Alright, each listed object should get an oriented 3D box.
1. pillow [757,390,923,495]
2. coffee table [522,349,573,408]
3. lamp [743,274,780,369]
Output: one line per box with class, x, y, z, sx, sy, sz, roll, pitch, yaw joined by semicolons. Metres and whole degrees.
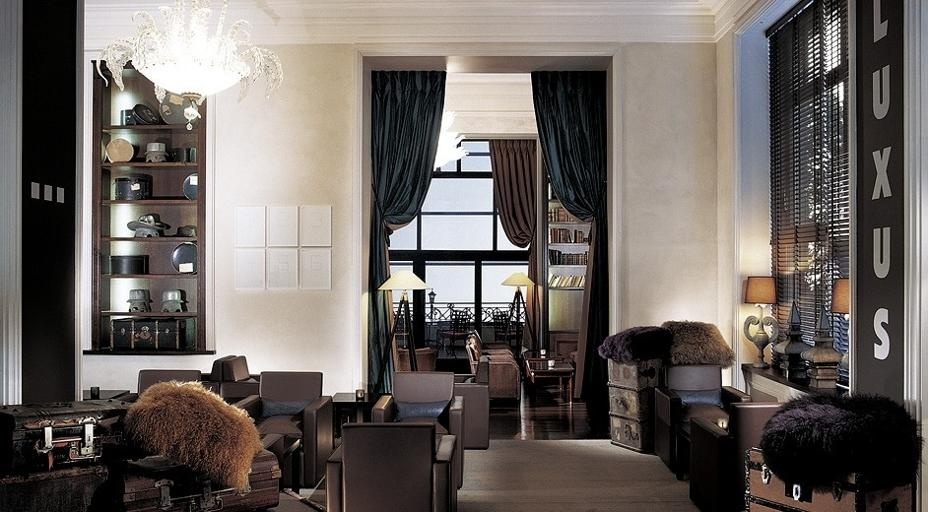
pillow;3.564;1.734;6.594;0.834;0.534;1.097;-3;-3;29
coffee table;1.391;1.955;11.371;0.777;0.699;0.949;-1;-5;4
lamp;3.770;0.823;8.835;0.432;1.119;0.632;-2;-5;21
